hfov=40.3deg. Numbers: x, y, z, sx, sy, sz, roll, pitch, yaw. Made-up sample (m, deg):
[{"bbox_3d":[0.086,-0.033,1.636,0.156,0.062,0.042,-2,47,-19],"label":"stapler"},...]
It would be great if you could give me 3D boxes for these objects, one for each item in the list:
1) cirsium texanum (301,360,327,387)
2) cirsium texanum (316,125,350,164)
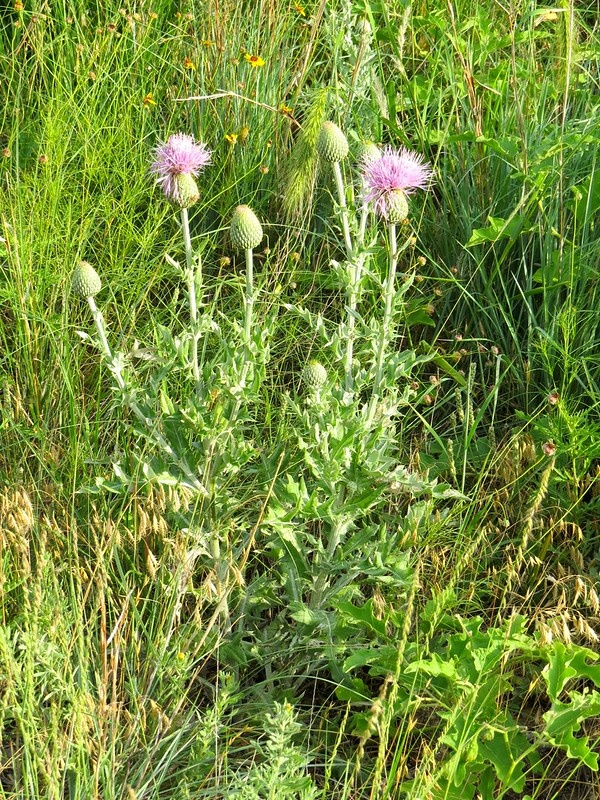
[{"bbox_3d":[0.038,-0.052,1.750,0.048,0.072,0.058,-4,41,3],"label":"cirsium texanum"},{"bbox_3d":[0.082,-0.604,1.886,0.070,0.084,0.124,-6,43,1],"label":"cirsium texanum"}]
